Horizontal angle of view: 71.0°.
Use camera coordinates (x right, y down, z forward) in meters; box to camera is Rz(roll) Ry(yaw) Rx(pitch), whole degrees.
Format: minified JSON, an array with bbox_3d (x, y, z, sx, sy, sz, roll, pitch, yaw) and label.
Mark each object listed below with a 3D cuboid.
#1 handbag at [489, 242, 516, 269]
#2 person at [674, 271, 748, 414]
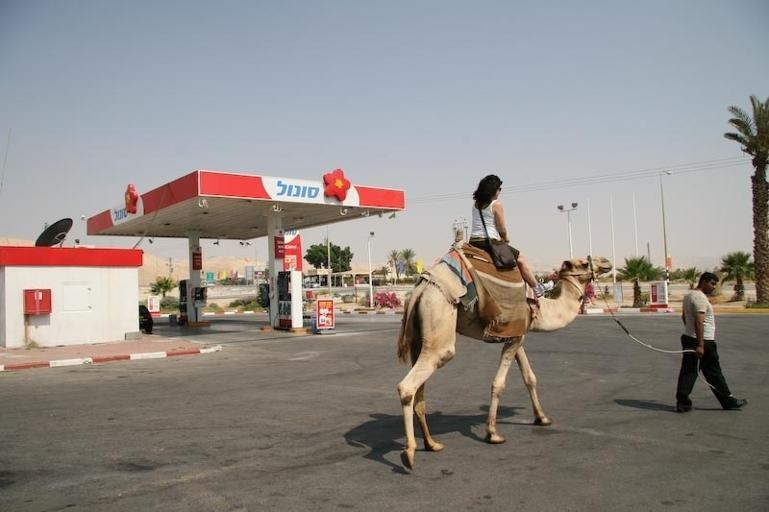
[{"bbox_3d":[1.789,0.026,8.265,0.294,0.339,0.140,-5,-26,-30],"label":"handbag"},{"bbox_3d":[6.001,1.580,10.064,1.014,2.491,1.424,-5,-4,32],"label":"person"}]
